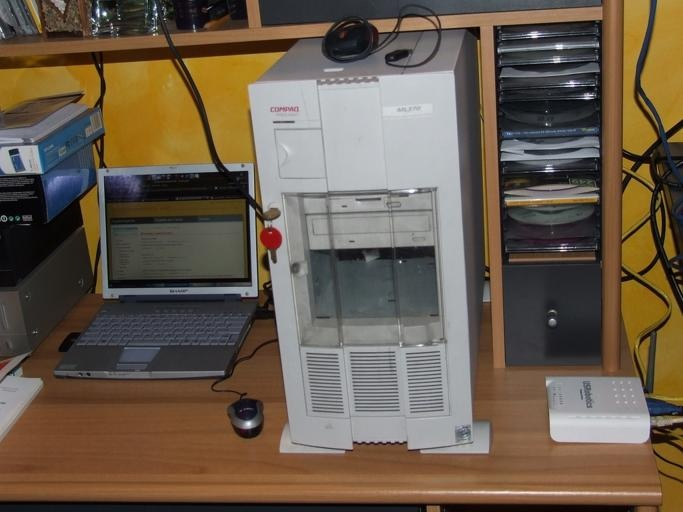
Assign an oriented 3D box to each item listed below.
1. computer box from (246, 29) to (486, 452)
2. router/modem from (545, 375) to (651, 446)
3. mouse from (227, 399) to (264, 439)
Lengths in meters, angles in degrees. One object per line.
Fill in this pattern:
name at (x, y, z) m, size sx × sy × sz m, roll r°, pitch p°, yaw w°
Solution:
computer box at (0.077, -0.029, 1.290) m, size 0.408 × 0.794 × 0.362 m, roll -1°, pitch 18°, yaw 11°
router/modem at (0.531, 0.318, 1.306) m, size 0.188 × 0.076 × 0.164 m, roll 0°, pitch 19°, yaw 15°
mouse at (-0.208, 0.346, 1.364) m, size 0.084 × 0.040 × 0.114 m, roll -9°, pitch 26°, yaw -16°
